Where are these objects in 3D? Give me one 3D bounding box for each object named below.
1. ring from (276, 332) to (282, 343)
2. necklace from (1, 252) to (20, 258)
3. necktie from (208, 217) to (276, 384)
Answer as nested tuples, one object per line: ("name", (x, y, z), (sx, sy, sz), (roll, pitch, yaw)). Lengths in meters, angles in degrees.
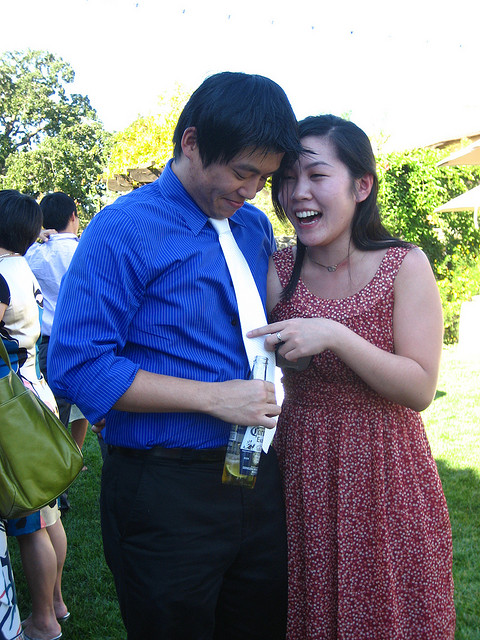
("ring", (0.101, 0.046, 1.412), (0.007, 0.017, 0.015), (-14, 21, -9))
("necklace", (-1.084, -0.305, 2.544), (0.091, 0.020, 0.060), (-8, 9, -43))
("necktie", (0.000, -0.060, 1.435), (0.230, 0.390, 0.212), (-2, 17, -25))
